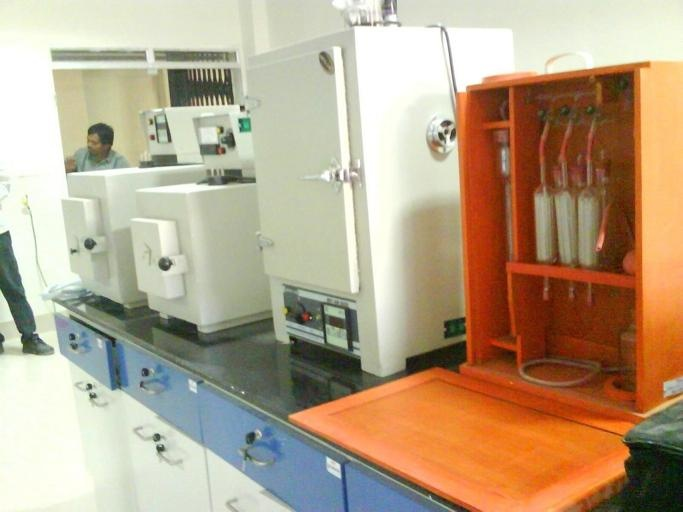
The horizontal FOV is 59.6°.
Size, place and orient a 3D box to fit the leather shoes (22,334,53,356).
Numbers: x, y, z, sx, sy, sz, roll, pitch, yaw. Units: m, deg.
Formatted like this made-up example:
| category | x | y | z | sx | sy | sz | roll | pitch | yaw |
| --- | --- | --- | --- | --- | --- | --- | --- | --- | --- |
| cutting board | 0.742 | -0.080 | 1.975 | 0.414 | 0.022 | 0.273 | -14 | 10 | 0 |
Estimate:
| category | x | y | z | sx | sy | sz | roll | pitch | yaw |
| --- | --- | --- | --- | --- | --- | --- | --- | --- | --- |
| leather shoes | -2.244 | 0.658 | 4.429 | 0.242 | 0.148 | 0.129 | 1 | 7 | 7 |
